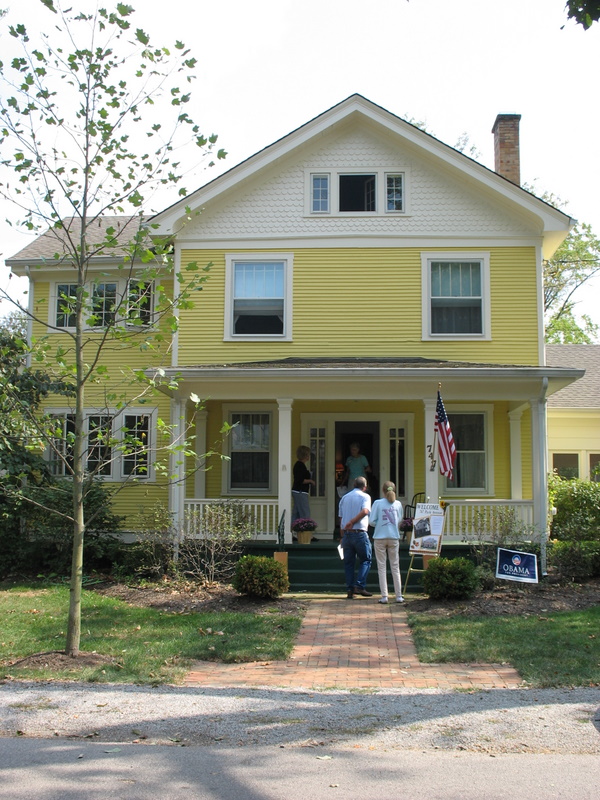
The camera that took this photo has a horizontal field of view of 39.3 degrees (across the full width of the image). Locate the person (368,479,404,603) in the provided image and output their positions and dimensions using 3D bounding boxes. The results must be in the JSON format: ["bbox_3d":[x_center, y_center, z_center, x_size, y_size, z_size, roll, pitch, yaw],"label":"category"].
[{"bbox_3d":[1.267,2.100,12.565,0.488,1.740,1.342,0,-5,6],"label":"person"}]

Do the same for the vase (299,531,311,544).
[{"bbox_3d":[0.081,2.399,14.656,0.213,0.145,0.205,1,-21,0],"label":"vase"}]
